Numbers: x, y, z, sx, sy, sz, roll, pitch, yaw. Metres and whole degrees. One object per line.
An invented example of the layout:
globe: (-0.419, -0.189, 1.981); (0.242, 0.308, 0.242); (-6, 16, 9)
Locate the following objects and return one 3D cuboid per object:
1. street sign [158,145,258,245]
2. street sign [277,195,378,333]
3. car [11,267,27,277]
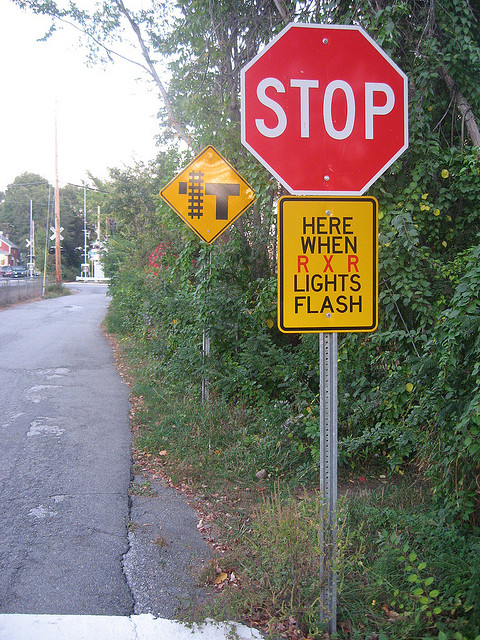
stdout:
street sign: (-0.338, -1.344, 6.621); (0.945, 0.043, 1.256); (-1, -43, -7)
street sign: (0.399, -0.264, 2.818); (0.456, 0.060, 0.817); (2, -48, 11)
car: (-23.879, -5.187, 67.047); (1.102, 1.216, 1.981); (-1, -2, -23)
